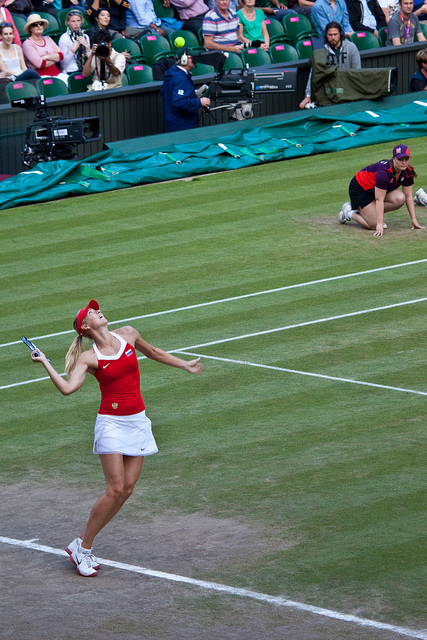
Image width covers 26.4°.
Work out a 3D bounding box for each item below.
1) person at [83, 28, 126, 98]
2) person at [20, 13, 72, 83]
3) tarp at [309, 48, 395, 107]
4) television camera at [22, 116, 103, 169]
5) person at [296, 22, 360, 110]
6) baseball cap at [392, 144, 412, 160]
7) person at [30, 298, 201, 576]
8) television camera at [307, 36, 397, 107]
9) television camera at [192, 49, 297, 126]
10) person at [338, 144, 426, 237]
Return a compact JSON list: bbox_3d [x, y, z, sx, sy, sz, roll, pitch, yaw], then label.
[{"bbox_3d":[-2.108,-4.903,17.394,0.810,1.302,1.419,-3,10,-5],"label":"person"},{"bbox_3d":[-3.270,-5.360,18.021,1.229,1.257,0.862,15,35,10],"label":"person"},{"bbox_3d":[2.815,-5.036,18.644,1.750,1.024,1.165,10,26,18],"label":"tarp"},{"bbox_3d":[-2.638,-3.000,15.163,1.450,1.038,0.798,-2,17,12],"label":"television camera"},{"bbox_3d":[2.376,-5.221,18.716,0.870,1.651,0.910,6,13,35],"label":"person"},{"bbox_3d":[2.431,-2.186,11.740,0.217,0.142,0.298,-2,7,-2],"label":"baseball cap"},{"bbox_3d":[-0.577,0.606,5.191,0.463,1.441,0.982,3,12,24],"label":"person"},{"bbox_3d":[2.725,-5.004,18.411,1.823,1.119,1.227,3,9,17],"label":"television camera"},{"bbox_3d":[0.683,-4.418,17.587,2.229,1.388,0.652,6,22,22],"label":"television camera"},{"bbox_3d":[2.371,-1.764,12.495,0.880,1.234,1.628,-3,10,-9],"label":"person"}]
